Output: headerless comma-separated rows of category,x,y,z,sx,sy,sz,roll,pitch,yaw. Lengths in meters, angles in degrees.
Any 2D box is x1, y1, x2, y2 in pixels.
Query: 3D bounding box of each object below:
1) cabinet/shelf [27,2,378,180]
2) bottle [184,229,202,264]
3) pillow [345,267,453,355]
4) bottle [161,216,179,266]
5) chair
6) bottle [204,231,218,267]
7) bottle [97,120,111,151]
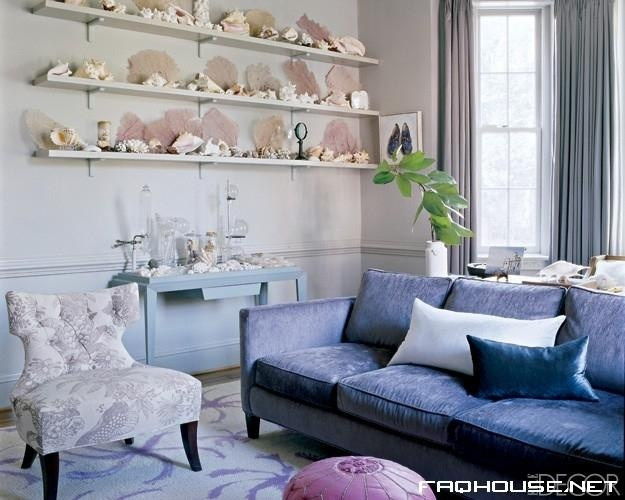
cabinet/shelf,-0.705,-1.211,4.065,2.666,1.187,0.392,-9,10,-37
bottle,-0.904,-0.011,3.844,0.115,0.236,0.243,-5,9,-15
pillow,0.463,0.332,2.976,0.453,0.463,0.183,13,-12,45
bottle,-1.059,-0.059,3.744,0.125,0.345,0.057,-6,9,-19
chair,-0.979,0.570,2.703,1.003,1.072,0.853,1,-4,-43
bottle,-0.777,-0.009,3.838,0.103,0.238,0.228,-5,8,-12
bottle,-1.472,-0.804,3.578,0.095,0.198,0.116,-6,9,-20
